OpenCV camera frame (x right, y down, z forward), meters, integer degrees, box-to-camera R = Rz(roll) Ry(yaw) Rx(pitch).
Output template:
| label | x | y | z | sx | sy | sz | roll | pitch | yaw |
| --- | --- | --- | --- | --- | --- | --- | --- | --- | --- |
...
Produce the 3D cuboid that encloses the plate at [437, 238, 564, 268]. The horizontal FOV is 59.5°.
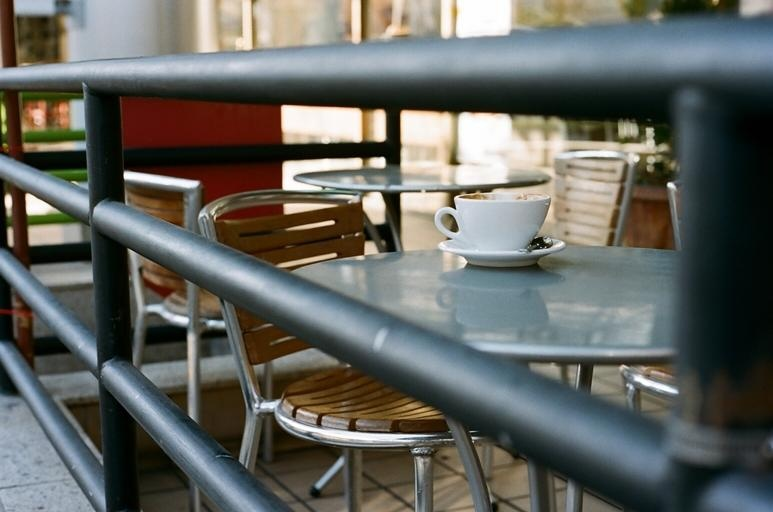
| label | x | y | z | sx | sy | sz | roll | pitch | yaw |
| --- | --- | --- | --- | --- | --- | --- | --- | --- | --- |
| plate | 0.168 | -0.004 | 0.978 | 0.179 | 0.034 | 0.118 | -1 | 17 | 2 |
